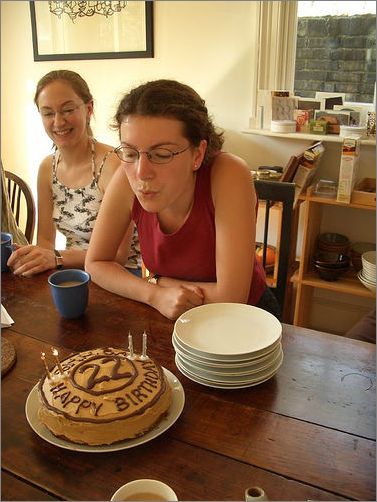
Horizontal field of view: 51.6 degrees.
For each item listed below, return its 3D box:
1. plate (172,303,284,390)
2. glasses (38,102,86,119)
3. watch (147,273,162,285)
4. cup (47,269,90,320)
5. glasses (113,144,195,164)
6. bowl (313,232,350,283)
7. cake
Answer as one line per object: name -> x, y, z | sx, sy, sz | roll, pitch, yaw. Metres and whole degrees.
plate -> 0.078, 0.155, 0.751 | 0.160, 0.058, 0.154 | 0, 21, 3
glasses -> -0.574, -0.636, 1.759 | 0.193, 0.077, 0.089 | -4, 15, -16
watch -> -0.106, 0.086, 1.179 | 0.022, 0.032, 0.033 | 5, 4, 1
cup -> -0.274, 0.097, 0.979 | 0.127, 0.110, 0.117 | 0, 19, 0
glasses -> -0.080, -0.233, 0.945 | 0.163, 0.044, 0.077 | 0, 15, -2
bowl -> 0.845, 0.013, 2.274 | 0.224, 0.085, 0.303 | 7, 36, 26
cake -> -0.129, 0.216, 0.588 | 0.197, 0.063, 0.153 | -2, 15, -9
